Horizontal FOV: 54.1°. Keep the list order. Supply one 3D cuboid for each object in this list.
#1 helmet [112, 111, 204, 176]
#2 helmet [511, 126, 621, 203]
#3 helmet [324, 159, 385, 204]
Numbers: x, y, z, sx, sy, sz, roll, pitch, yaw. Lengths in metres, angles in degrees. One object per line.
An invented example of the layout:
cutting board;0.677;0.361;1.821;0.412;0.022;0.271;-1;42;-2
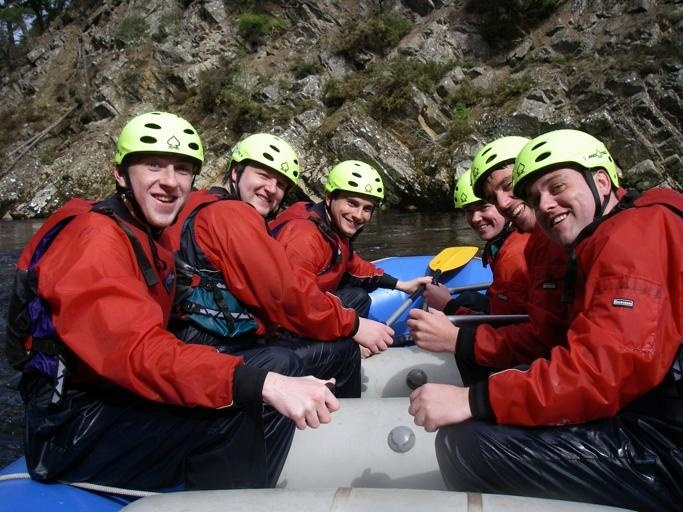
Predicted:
helmet;-1.075;-0.702;3.841;0.328;0.322;0.413;-9;32;-43
helmet;1.250;-0.490;3.724;0.450;0.289;0.339;23;-17;-5
helmet;0.099;-0.668;5.637;0.323;0.239;0.398;11;17;-24
